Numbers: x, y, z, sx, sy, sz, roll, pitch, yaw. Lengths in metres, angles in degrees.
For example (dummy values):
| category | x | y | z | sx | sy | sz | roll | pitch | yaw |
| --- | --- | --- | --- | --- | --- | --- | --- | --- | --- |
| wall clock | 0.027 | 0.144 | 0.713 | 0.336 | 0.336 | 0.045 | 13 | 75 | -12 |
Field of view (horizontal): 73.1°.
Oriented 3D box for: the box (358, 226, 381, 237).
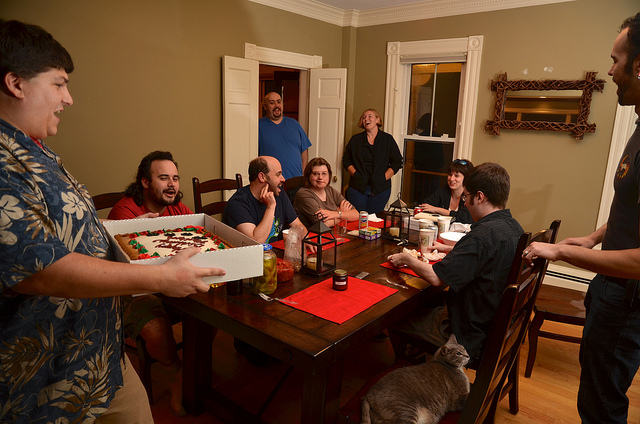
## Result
| category | x | y | z | sx | sy | sz | roll | pitch | yaw |
| --- | --- | --- | --- | --- | --- | --- | --- | --- | --- |
| box | 0.378 | 0.146 | 3.252 | 0.172 | 0.061 | 0.121 | 1 | 17 | -3 |

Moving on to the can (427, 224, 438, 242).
| category | x | y | z | sx | sy | sz | roll | pitch | yaw |
| --- | --- | --- | --- | --- | --- | --- | --- | --- | --- |
| can | 0.773 | 0.148 | 2.988 | 0.056 | 0.093 | 0.091 | -12 | 38 | 14 |

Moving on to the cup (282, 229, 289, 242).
| category | x | y | z | sx | sy | sz | roll | pitch | yaw |
| --- | --- | --- | --- | --- | --- | --- | --- | --- | --- |
| cup | -0.229 | 0.155 | 2.879 | 0.048 | 0.040 | 0.050 | 2 | 14 | -1 |

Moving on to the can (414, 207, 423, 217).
| category | x | y | z | sx | sy | sz | roll | pitch | yaw |
| --- | --- | --- | --- | --- | --- | --- | --- | --- | --- |
| can | 0.841 | -0.002 | 3.693 | 0.061 | 0.071 | 0.062 | -6 | 17 | -19 |

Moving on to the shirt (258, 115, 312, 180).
| category | x | y | z | sx | sy | sz | roll | pitch | yaw |
| --- | --- | --- | --- | --- | --- | --- | --- | --- | --- |
| shirt | -0.456 | -0.829 | 5.317 | 0.572 | 0.783 | 0.505 | -1 | 19 | -21 |

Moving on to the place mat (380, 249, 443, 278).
| category | x | y | z | sx | sy | sz | roll | pitch | yaw |
| --- | --- | --- | --- | --- | --- | --- | --- | --- | --- |
| place mat | 0.634 | 0.293 | 2.776 | 0.405 | 0.092 | 0.422 | 7 | 10 | 23 |

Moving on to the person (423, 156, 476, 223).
| category | x | y | z | sx | sy | sz | roll | pitch | yaw |
| --- | --- | --- | --- | --- | --- | --- | --- | --- | --- |
| person | 1.219 | -0.068 | 4.085 | 0.487 | 0.867 | 0.505 | 5 | 20 | 16 |

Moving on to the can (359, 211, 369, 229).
| category | x | y | z | sx | sy | sz | roll | pitch | yaw |
| --- | --- | --- | --- | --- | --- | --- | --- | --- | --- |
| can | 0.328 | 0.064 | 3.293 | 0.072 | 0.200 | 0.074 | -1 | 17 | 0 |

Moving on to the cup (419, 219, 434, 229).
| category | x | y | z | sx | sy | sz | roll | pitch | yaw |
| --- | --- | --- | --- | --- | --- | --- | --- | --- | --- |
| cup | 0.762 | 0.075 | 3.099 | 0.061 | 0.061 | 0.081 | -8 | 17 | -30 |
